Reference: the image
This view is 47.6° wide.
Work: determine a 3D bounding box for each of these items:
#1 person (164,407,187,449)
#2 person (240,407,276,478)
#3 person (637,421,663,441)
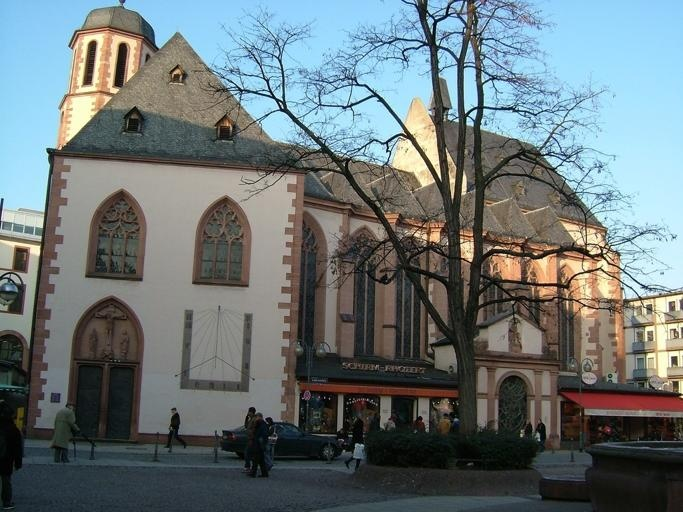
[{"bbox_3d":[-6.555,6.876,31.119,0.806,1.617,2.520,4,-12,-11],"label":"person"},{"bbox_3d":[-2.439,5.607,23.050,0.665,1.799,1.094,4,-12,-14],"label":"person"},{"bbox_3d":[17.577,9.707,43.657,1.763,1.054,0.274,6,-13,-20],"label":"person"}]
